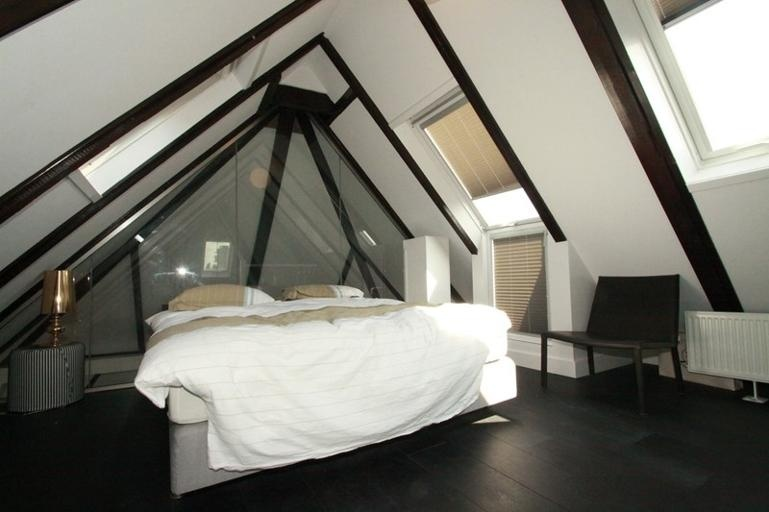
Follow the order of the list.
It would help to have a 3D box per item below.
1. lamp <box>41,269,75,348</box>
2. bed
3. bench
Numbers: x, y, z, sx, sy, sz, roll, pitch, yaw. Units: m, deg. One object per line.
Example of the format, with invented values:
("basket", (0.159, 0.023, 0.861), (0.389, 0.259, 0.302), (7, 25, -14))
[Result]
("lamp", (-2.905, 0.466, 4.536), (0.262, 0.651, 0.293), (-8, 13, -33))
("bed", (-0.539, 0.805, 4.713), (2.730, 0.821, 2.400), (-5, 12, -22))
("bench", (2.089, 0.786, 4.909), (1.130, 1.354, 1.224), (2, -5, -39))
